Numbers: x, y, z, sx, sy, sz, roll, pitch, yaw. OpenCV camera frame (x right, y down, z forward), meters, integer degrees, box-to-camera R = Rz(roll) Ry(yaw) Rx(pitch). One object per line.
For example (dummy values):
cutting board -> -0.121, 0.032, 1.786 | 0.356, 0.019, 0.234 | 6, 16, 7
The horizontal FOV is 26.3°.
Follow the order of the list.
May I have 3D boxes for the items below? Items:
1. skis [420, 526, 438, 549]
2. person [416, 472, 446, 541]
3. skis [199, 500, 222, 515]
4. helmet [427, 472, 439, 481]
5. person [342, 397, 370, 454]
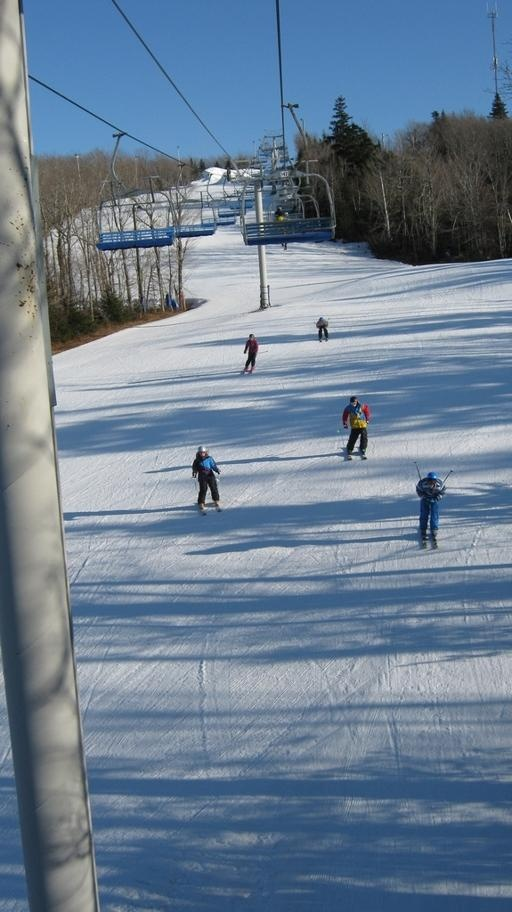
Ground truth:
skis -> 2.311, 1.107, 14.639 | 0.251, 0.303, 0.220 | -3, -17, 10
person -> 2.281, 0.661, 14.324 | 0.299, 0.935, 0.293 | 2, 23, 9
skis -> -0.726, 0.793, 17.369 | 0.215, 0.112, 0.301 | -9, 24, -16
helmet -> 2.303, 0.270, 14.235 | 0.159, 0.099, 0.240 | 2, -33, 9
person -> 1.722, -0.515, 18.517 | 0.372, 1.121, 0.363 | -4, 22, 4
